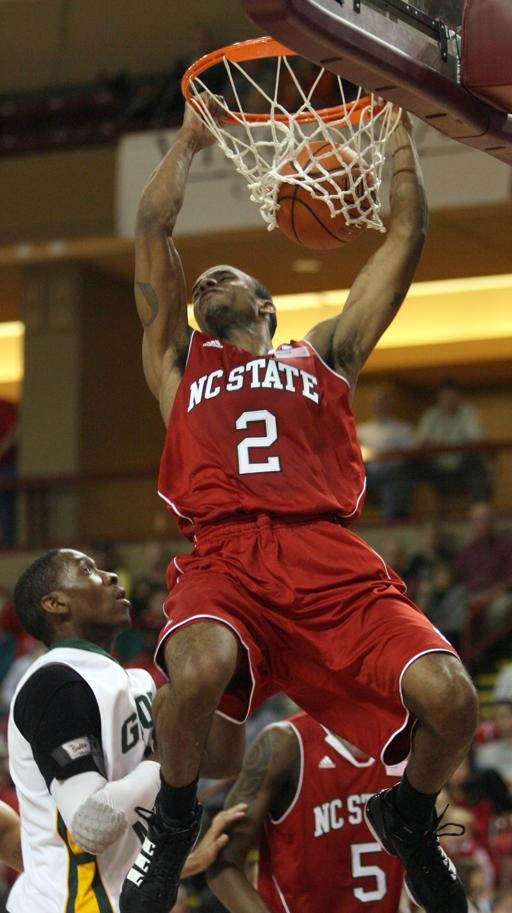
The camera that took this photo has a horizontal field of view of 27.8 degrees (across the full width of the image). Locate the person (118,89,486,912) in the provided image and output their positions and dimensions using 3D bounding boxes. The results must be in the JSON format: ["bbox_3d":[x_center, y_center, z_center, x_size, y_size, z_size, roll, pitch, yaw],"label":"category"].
[{"bbox_3d":[0.079,0.037,2.157,0.761,1.635,0.913,-1,6,-8],"label":"person"}]

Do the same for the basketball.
[{"bbox_3d":[0.173,-0.595,2.514,0.238,0.248,0.218,1,45,2],"label":"basketball"}]
